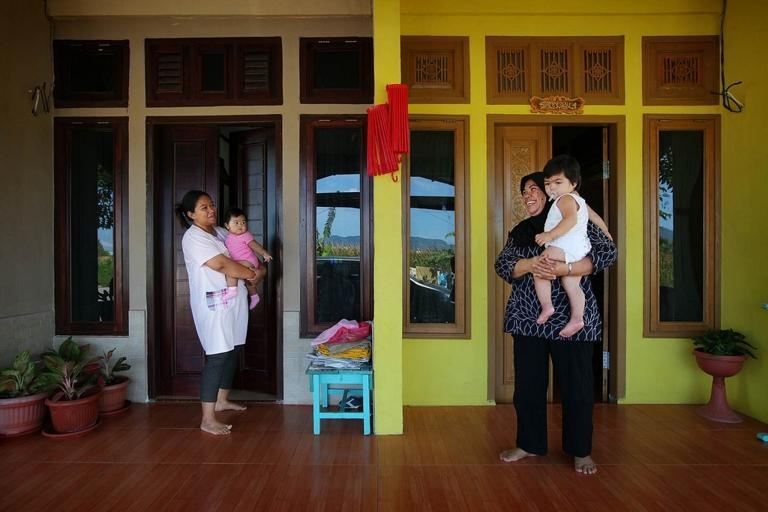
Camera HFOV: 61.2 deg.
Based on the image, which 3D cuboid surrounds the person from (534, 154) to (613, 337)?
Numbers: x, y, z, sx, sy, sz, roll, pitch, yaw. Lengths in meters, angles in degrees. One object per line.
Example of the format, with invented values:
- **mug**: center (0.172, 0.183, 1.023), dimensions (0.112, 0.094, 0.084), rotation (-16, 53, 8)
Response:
- **person**: center (1.630, -0.067, 5.757), dimensions (0.582, 1.628, 0.377), rotation (-1, 1, 8)

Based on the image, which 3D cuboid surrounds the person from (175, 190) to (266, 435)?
- **person**: center (-1.672, 0.557, 6.507), dimensions (0.701, 2.398, 0.495), rotation (-2, 1, -19)

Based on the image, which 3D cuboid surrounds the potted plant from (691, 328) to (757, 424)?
- **potted plant**: center (3.502, 1.236, 6.679), dimensions (0.583, 0.907, 0.376), rotation (-2, 2, -10)

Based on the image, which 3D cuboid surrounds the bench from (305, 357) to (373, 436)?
- **bench**: center (-0.430, 1.424, 6.607), dimensions (0.643, 0.652, 0.697), rotation (-2, 2, -2)
